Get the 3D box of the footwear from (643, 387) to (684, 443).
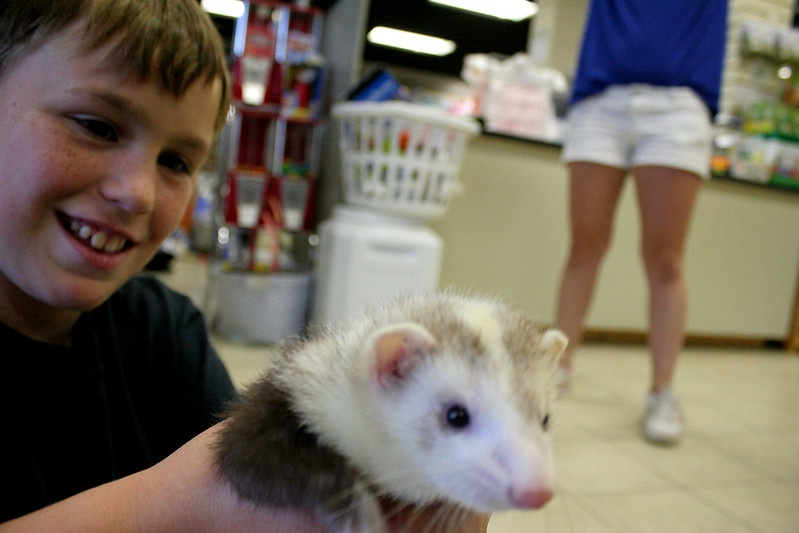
[{"bbox_3d":[0.239,0.135,0.603,0.026,0.026,0.052,-3,49,15],"label":"footwear"}]
